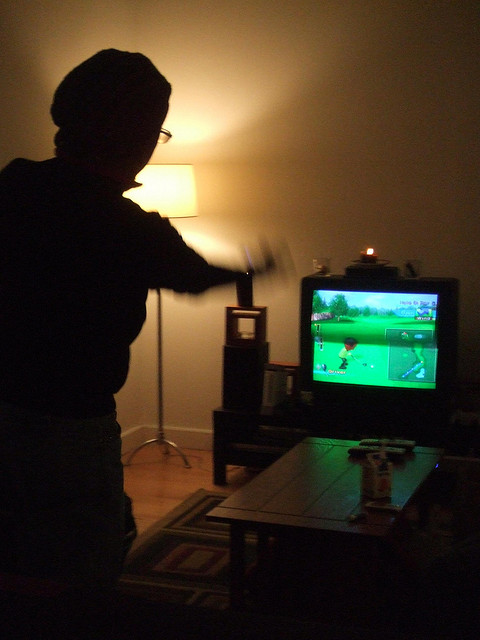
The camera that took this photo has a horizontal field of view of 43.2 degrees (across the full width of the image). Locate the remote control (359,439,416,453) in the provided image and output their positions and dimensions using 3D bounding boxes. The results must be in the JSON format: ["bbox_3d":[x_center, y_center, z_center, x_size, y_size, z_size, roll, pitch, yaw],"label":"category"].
[{"bbox_3d":[0.528,0.454,2.165,0.092,0.022,0.091,1,2,24],"label":"remote control"}]

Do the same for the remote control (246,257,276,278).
[{"bbox_3d":[0.026,-0.066,0.759,0.038,0.011,0.009,-30,-23,6],"label":"remote control"}]

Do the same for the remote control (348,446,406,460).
[{"bbox_3d":[0.486,0.467,2.138,0.195,0.030,0.091,-4,2,14],"label":"remote control"}]

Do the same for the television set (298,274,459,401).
[{"bbox_3d":[0.576,0.118,2.871,0.750,0.539,0.371,3,-8,-8],"label":"television set"}]
